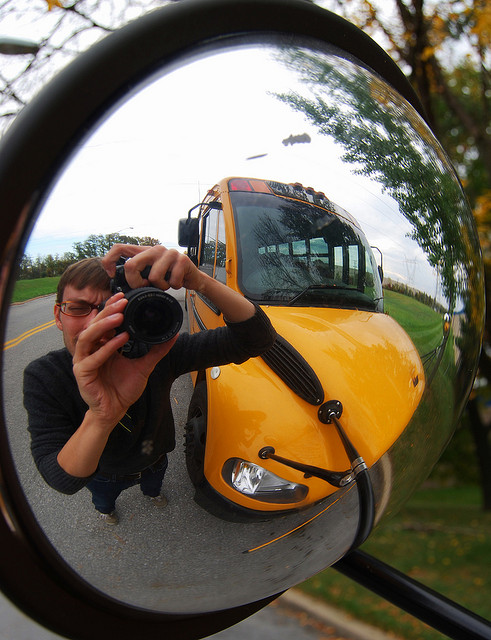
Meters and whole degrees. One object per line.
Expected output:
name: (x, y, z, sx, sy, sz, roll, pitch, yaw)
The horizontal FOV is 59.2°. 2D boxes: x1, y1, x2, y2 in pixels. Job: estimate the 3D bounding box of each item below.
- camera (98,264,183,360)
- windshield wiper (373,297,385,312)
camera: (-0.110, -0.021, 0.562, 0.096, 0.102, 0.098, -15, 23, 7)
windshield wiper: (0.193, -0.022, 0.626, 0.005, 0.029, 0.023, 28, 10, 18)
